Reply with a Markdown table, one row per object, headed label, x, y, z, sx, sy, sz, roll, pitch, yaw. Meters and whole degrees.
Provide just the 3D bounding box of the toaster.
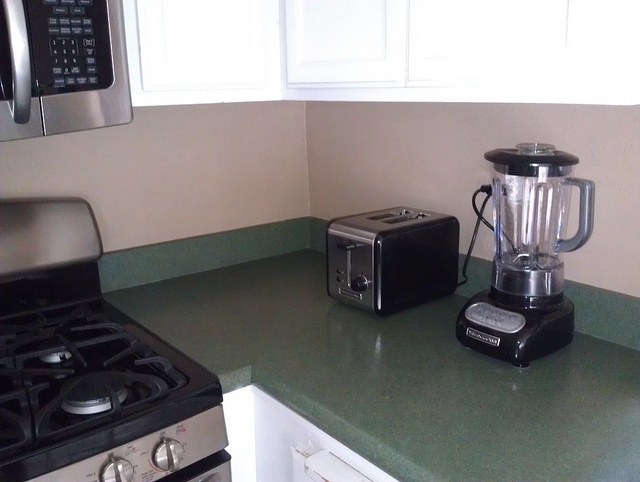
| label | x | y | z | sx | sy | sz | roll | pitch | yaw |
| --- | --- | --- | --- | --- | --- | --- | --- | --- | --- |
| toaster | 0.242 | 0.063 | 1.703 | 0.397 | 0.298 | 0.223 | -11 | 18 | -38 |
